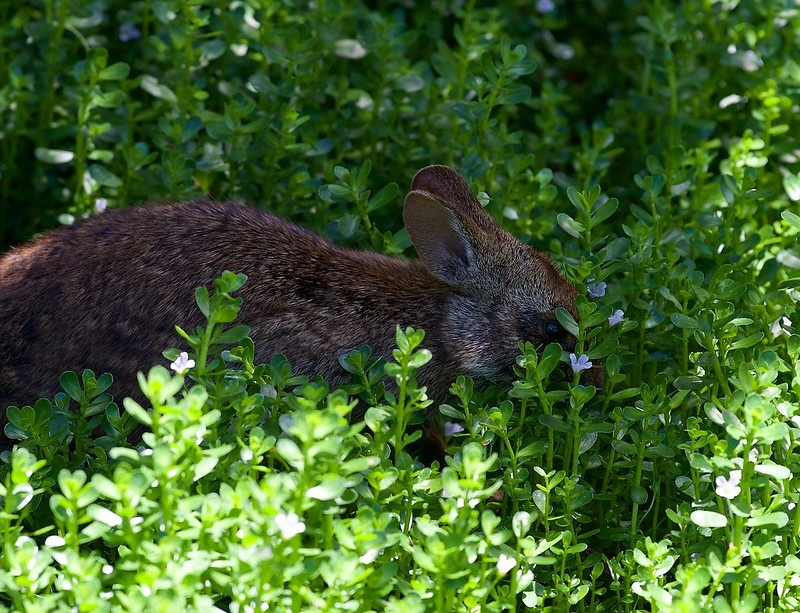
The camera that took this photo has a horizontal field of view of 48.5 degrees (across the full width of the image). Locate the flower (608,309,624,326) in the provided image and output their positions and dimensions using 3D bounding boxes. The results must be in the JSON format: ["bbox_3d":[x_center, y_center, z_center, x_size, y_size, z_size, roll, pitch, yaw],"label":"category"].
[{"bbox_3d":[0.859,0.042,3.556,0.020,0.049,0.049,29,24,-14],"label":"flower"}]

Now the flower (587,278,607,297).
[{"bbox_3d":[0.818,-0.078,3.706,0.076,0.045,0.077,57,32,-11],"label":"flower"}]

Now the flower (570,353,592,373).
[{"bbox_3d":[0.658,0.213,3.245,0.070,0.029,0.070,9,35,18],"label":"flower"}]
